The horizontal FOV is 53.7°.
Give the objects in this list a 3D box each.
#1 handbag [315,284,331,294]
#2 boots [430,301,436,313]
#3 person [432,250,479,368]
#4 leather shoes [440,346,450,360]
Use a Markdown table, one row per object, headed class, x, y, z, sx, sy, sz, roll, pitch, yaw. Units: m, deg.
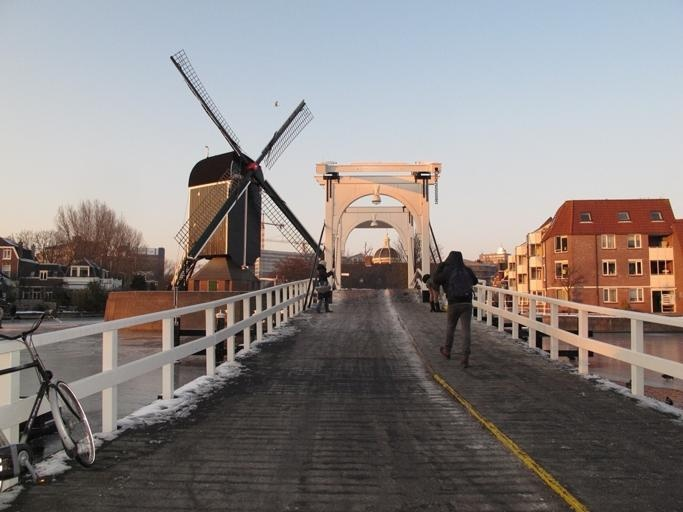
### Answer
| class | x | y | z | sx | sy | sz | roll | pitch | yaw |
| --- | --- | --- | --- | --- | --- | --- | --- | --- | --- |
| handbag | -0.633 | 1.070 | 21.785 | 0.416 | 0.415 | 0.392 | 1 | -3 | -2 |
| boots | 3.006 | 1.702 | 22.602 | 0.291 | 0.391 | 0.249 | 2 | -2 | -4 |
| person | 2.093 | 0.903 | 12.238 | 0.826 | 1.981 | 0.912 | 2 | -3 | -31 |
| leather shoes | 1.916 | 1.776 | 12.381 | 0.104 | 0.256 | 0.186 | 5 | -26 | -38 |
